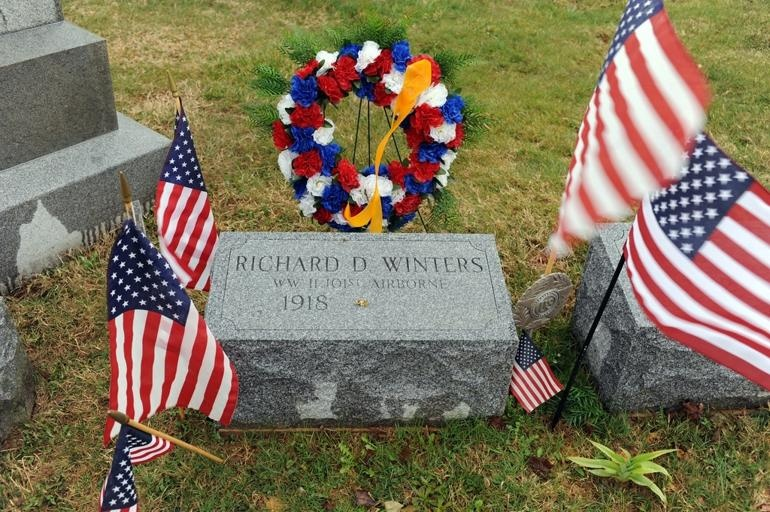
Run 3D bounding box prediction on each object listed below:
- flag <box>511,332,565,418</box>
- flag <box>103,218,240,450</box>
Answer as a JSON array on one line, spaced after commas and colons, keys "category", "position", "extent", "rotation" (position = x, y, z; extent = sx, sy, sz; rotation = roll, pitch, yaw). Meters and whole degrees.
[{"category": "flag", "position": [1.333, 1.065, 8.625], "extent": [0.437, 0.700, 0.384], "rotation": [-12, 31, 42]}, {"category": "flag", "position": [-1.682, 0.645, 7.477], "extent": [1.088, 1.515, 0.759], "rotation": [22, 44, 13]}]
